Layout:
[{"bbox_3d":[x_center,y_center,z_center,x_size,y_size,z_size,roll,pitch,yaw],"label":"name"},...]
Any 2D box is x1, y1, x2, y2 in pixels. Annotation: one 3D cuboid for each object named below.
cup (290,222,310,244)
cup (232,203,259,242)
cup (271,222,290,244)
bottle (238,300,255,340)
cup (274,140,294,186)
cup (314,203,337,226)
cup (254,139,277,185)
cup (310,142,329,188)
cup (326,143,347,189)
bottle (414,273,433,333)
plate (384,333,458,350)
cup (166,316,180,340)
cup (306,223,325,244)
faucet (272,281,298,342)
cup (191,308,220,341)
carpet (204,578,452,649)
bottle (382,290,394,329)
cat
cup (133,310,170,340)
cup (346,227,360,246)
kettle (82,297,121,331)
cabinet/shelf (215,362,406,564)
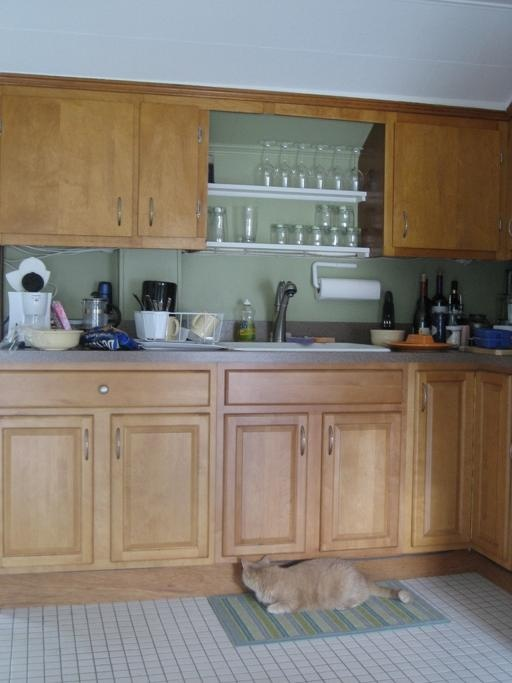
[{"bbox_3d":[0.181,-0.447,2.817,0.081,0.081,0.079,1,11,0],"label":"cup"},{"bbox_3d":[-0.048,-0.479,2.746,0.087,0.159,0.084,-2,5,0],"label":"cup"},{"bbox_3d":[0.093,-0.448,2.806,0.079,0.084,0.078,0,12,0],"label":"cup"},{"bbox_3d":[-0.046,-0.089,2.914,0.077,0.175,0.152,-2,5,0],"label":"bottle"},{"bbox_3d":[0.111,-0.725,2.795,0.075,0.192,0.135,-1,5,3],"label":"cup"},{"bbox_3d":[0.293,-0.540,2.858,0.088,0.134,0.086,1,7,0],"label":"cup"},{"bbox_3d":[0.038,-0.729,2.796,0.088,0.200,0.176,-2,5,2],"label":"cup"},{"bbox_3d":[0.268,-0.730,2.851,0.066,0.184,0.121,-1,5,7],"label":"cup"},{"bbox_3d":[0.340,-0.732,2.870,0.068,0.183,0.119,-1,5,9],"label":"cup"},{"bbox_3d":[0.755,-0.172,3.091,0.080,0.271,0.185,-1,5,13],"label":"bottle"},{"bbox_3d":[0.654,0.006,2.705,0.273,0.067,0.187,0,5,14],"label":"plate"},{"bbox_3d":[-0.338,-0.052,2.619,0.062,0.077,0.067,-4,-15,-1],"label":"cup"},{"bbox_3d":[0.250,-0.456,2.821,0.074,0.078,0.073,1,6,0],"label":"cup"},{"bbox_3d":[0.116,-0.129,2.869,0.107,0.250,0.345,-1,5,3],"label":"faucet"},{"bbox_3d":[-0.198,-0.059,2.731,0.141,0.118,0.091,4,0,-36],"label":"cup"},{"bbox_3d":[0.228,0.901,2.276,0.740,0.056,0.356,-3,5,-15],"label":"carpet"},{"bbox_3d":[0.600,-0.143,3.095,0.050,0.170,0.077,-1,5,11],"label":"bottle"},{"bbox_3d":[0.175,0.803,2.272,0.654,0.220,0.210,3,-16,-7],"label":"cat"},{"bbox_3d":[-0.389,-0.063,2.514,0.113,0.082,0.112,2,4,0],"label":"cup"},{"bbox_3d":[0.405,-0.440,2.848,0.058,0.083,0.032,-4,5,-26],"label":"cup"},{"bbox_3d":[-0.590,-0.110,2.701,0.176,0.171,0.104,1,3,0],"label":"kettle"},{"bbox_3d":[0.162,0.423,2.402,0.751,0.728,0.361,-1,2,-13],"label":"cabinet/shelf"}]
